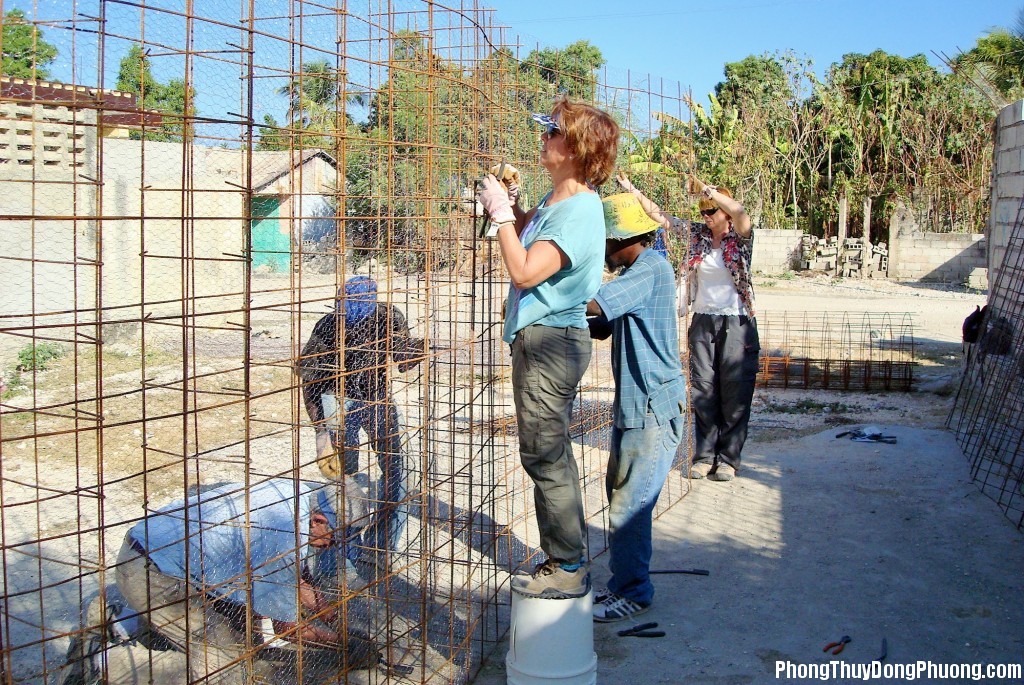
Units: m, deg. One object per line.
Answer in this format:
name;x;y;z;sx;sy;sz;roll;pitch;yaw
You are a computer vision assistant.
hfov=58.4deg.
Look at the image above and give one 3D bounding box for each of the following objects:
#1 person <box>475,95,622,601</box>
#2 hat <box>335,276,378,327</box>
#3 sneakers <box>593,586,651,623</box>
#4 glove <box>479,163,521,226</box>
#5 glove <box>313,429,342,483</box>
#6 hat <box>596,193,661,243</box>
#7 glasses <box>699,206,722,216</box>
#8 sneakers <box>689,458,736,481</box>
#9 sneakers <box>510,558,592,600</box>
person;0.174;0.021;5.164;0.678;2.733;0.652;3;10;16
hat;-1.115;-0.266;6.258;0.260;0.391;0.270;6;3;6
sneakers;0.700;1.698;5.833;0.362;0.154;0.142;4;-3;-19
glove;-0.038;-0.800;4.995;0.122;0.389;0.282;4;7;-22
glove;-1.272;0.760;6.191;0.168;0.076;0.332;4;42;-10
hat;0.706;-0.873;6.050;0.472;0.249;0.456;-1;26;20
glasses;1.669;-1.138;7.882;0.113;0.073;0.199;-5;11;-30
sneakers;1.652;1.111;7.899;0.474;0.158;0.238;-3;10;-22
sneakers;0.208;1.332;5.186;0.442;0.236;0.189;4;-4;-5
